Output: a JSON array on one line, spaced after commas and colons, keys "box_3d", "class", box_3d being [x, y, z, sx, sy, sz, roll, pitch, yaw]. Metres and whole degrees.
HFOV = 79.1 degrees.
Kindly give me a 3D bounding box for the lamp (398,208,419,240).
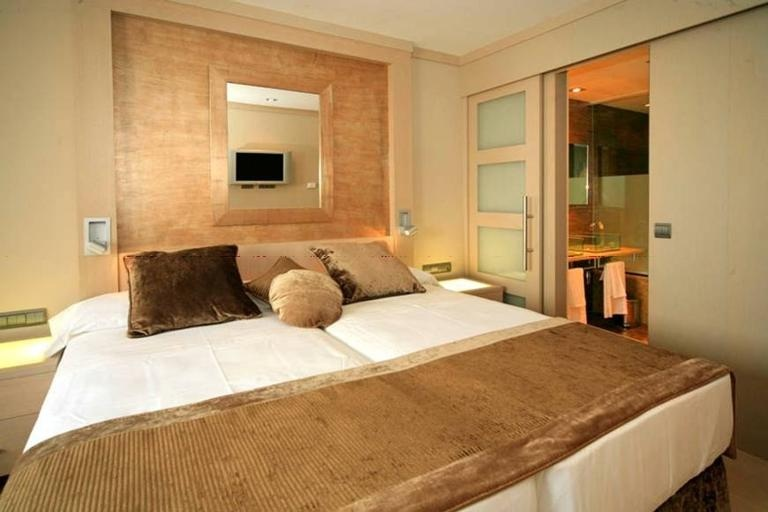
[{"box_3d": [0.250, -0.311, 4.370, 0.154, 0.251, 0.239, 5, 9, 36], "class": "lamp"}]
